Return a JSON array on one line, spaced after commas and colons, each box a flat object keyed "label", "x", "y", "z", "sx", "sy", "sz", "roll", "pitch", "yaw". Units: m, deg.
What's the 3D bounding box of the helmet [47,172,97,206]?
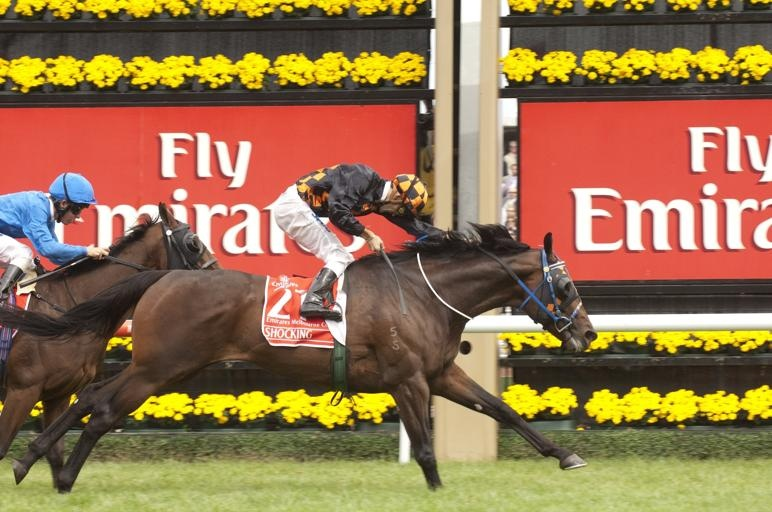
[{"label": "helmet", "x": -1.993, "y": -0.449, "z": 10.113, "sx": 0.377, "sy": 0.146, "sz": 0.228, "roll": 12, "pitch": 13, "yaw": 20}]

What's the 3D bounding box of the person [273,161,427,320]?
[{"label": "person", "x": -0.156, "y": -0.118, "z": 9.921, "sx": 1.275, "sy": 0.682, "sz": 0.555, "roll": -5, "pitch": -8, "yaw": -18}]

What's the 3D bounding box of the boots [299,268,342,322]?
[{"label": "boots", "x": -0.409, "y": 0.235, "z": 9.634, "sx": 0.258, "sy": 0.314, "sz": 0.134, "roll": -1, "pitch": 2, "yaw": -9}]
